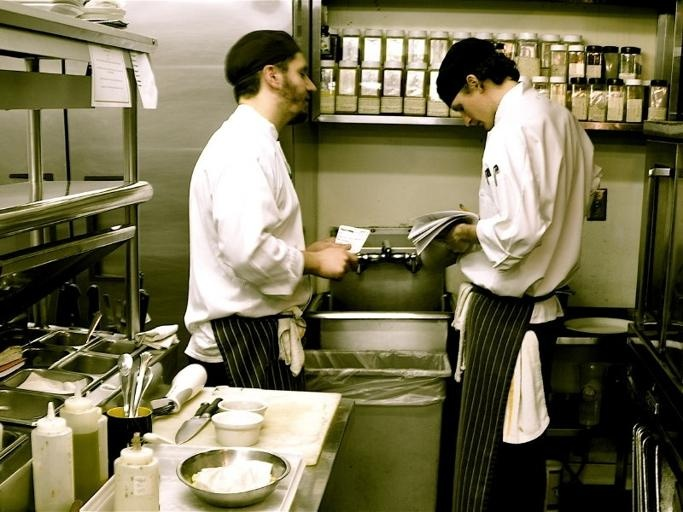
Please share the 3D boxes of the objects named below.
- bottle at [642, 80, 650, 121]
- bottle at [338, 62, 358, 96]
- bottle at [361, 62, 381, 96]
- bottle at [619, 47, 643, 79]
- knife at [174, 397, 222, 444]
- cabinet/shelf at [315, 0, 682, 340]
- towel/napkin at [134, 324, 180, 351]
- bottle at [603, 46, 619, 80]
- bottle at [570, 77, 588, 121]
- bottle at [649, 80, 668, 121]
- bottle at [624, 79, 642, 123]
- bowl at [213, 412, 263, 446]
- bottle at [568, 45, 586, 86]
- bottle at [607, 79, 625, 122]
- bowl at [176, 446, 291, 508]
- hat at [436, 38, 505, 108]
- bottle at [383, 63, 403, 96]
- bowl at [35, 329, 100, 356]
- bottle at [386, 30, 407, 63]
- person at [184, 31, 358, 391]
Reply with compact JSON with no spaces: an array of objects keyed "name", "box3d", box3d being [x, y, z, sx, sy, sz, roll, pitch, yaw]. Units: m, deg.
[{"name":"bottle","box3d":[1.549,-0.788,3.228,0.034,0.189,0.059,6,10,26]},{"name":"bottle","box3d":[0.015,-0.897,3.266,0.121,0.157,0.118,0,15,0]},{"name":"bottle","box3d":[0.151,-0.883,3.215,0.133,0.173,0.126,-1,15,0]},{"name":"bottle","box3d":[1.531,-1.003,3.331,0.119,0.163,0.119,-6,18,2]},{"name":"knife","box3d":[-0.398,0.448,1.714,0.041,0.017,0.168,8,14,9]},{"name":"cabinet/shelf","box3d":[0.775,-0.448,2.985,1.933,1.577,0.594,1,8,4]},{"name":"towel/napkin","box3d":[-0.592,0.252,2.034,0.096,0.035,0.096,3,6,19]},{"name":"bottle","box3d":[1.404,-1.004,3.300,0.070,0.147,0.104,7,11,33]},{"name":"bottle","box3d":[1.205,-0.786,3.241,0.104,0.222,0.093,3,-5,-6]},{"name":"bottle","box3d":[1.587,-0.782,3.176,0.088,0.199,0.185,5,10,25]},{"name":"bottle","box3d":[1.486,-0.778,3.205,0.111,0.214,0.070,1,9,-1]},{"name":"bowl","box3d":[-0.273,0.457,1.673,0.138,0.057,0.129,3,-2,0]},{"name":"bottle","box3d":[1.186,-0.982,3.262,0.126,0.177,0.121,-2,11,0]},{"name":"bottle","box3d":[1.394,-0.781,3.202,0.099,0.205,0.038,0,9,-6]},{"name":"bowl","box3d":[-0.248,0.504,1.443,0.237,0.074,0.176,5,9,23]},{"name":"hat","box3d":[0.516,-0.770,2.650,0.278,0.267,0.203,-25,15,24]},{"name":"bottle","box3d":[0.259,-0.879,3.204,0.124,0.161,0.118,1,9,0]},{"name":"bowl","box3d":[-0.939,0.290,2.130,0.092,0.036,0.104,4,7,5]},{"name":"bottle","box3d":[0.274,-1.043,3.218,0.109,0.191,0.146,1,9,3]},{"name":"person","box3d":[-0.252,-0.152,2.241,0.496,1.291,0.434,-8,13,-42]}]
